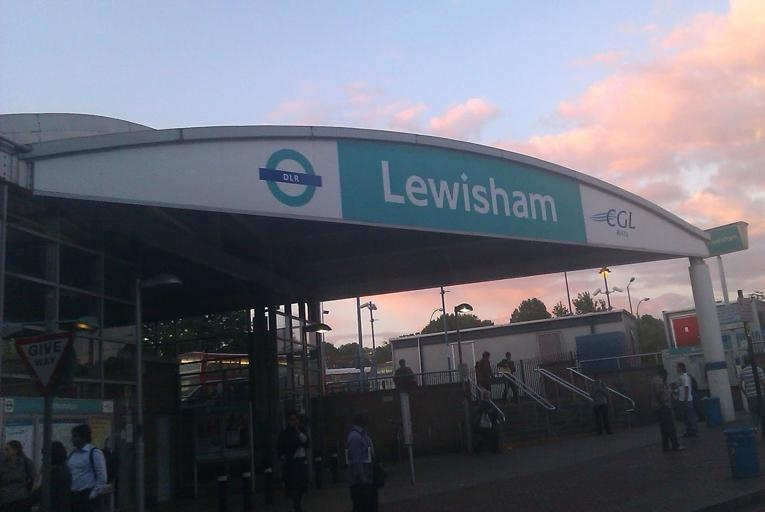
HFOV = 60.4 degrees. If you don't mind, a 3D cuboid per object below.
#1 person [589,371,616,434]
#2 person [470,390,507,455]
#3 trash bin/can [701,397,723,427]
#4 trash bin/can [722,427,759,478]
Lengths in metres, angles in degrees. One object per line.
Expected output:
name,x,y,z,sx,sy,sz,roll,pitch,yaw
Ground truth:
person,8.172,5.631,24.613,0.603,2.080,0.947,-9,-12,16
person,3.733,5.857,23.325,0.962,2.149,1.400,-5,-12,-7
trash bin/can,11.594,5.494,23.068,0.523,0.982,0.547,-12,-13,27
trash bin/can,8.387,4.589,15.298,0.652,1.110,0.582,-12,-13,26
